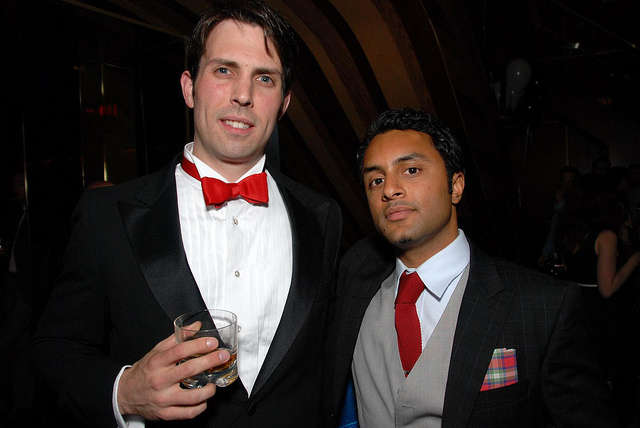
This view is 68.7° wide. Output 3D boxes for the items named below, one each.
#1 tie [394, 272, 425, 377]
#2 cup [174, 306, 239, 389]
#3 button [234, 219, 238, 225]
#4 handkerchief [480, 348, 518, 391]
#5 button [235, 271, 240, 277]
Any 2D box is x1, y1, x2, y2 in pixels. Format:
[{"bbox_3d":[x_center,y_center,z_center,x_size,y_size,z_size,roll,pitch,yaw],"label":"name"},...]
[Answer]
[{"bbox_3d":[0.551,0.672,2.887,0.163,0.611,0.034,-11,-30,23],"label":"tie"},{"bbox_3d":[-0.503,0.659,2.373,0.335,0.380,0.383,-3,-6,-5],"label":"cup"},{"bbox_3d":[-0.495,0.046,2.744,0.030,0.031,0.007,1,-5,-33],"label":"button"},{"bbox_3d":[1.022,0.896,2.675,0.222,0.209,0.034,-3,-8,4],"label":"handkerchief"},{"bbox_3d":[-0.471,0.340,2.662,0.032,0.033,0.008,2,-1,-6],"label":"button"}]
